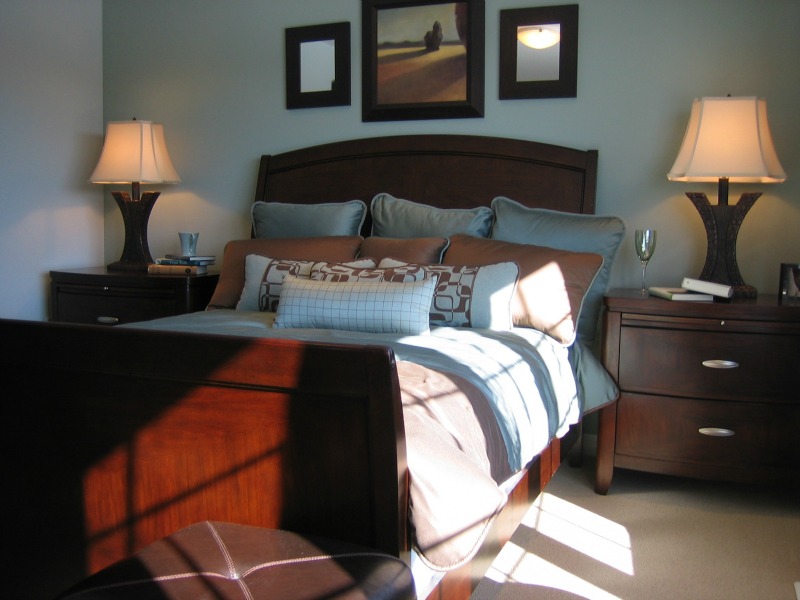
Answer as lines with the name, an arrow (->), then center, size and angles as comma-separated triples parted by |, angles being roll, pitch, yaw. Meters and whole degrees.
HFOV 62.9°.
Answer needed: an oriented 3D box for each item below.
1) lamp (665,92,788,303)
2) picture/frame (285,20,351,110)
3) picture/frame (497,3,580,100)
lamp -> 1.558, -0.511, 3.143 | 0.483, 0.907, 0.489 | 8, 15, 30
picture/frame -> -0.481, -1.367, 3.828 | 0.399, 0.442, 0.022 | 4, 7, 20
picture/frame -> 0.752, -1.321, 3.460 | 0.477, 0.598, 0.038 | 2, 1, 14
